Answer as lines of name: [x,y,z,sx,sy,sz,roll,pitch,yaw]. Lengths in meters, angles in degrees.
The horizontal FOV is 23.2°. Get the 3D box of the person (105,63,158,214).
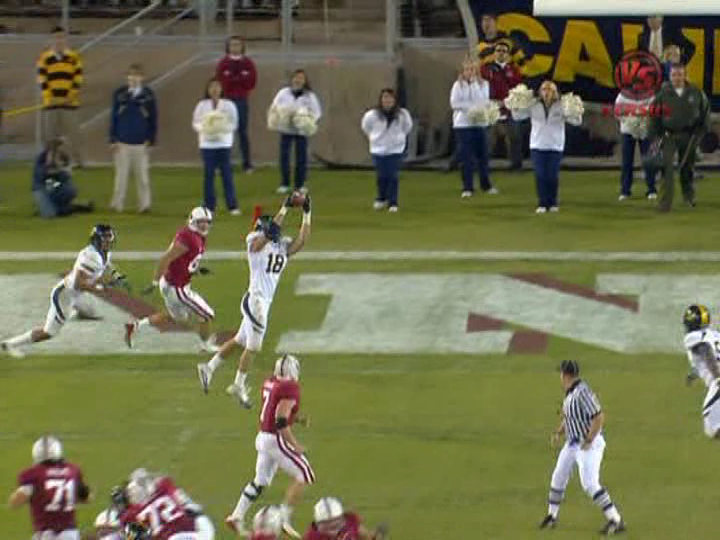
person: [-3.627,-2.069,28.007,0.735,2.475,0.858,-3,9,-8]

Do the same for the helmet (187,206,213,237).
helmet: [-2.230,-0.666,24.389,0.383,0.427,0.330,18,14,33]

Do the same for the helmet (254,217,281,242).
helmet: [-1.241,-0.520,23.486,0.367,0.346,0.284,0,10,12]

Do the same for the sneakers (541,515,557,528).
sneakers: [2.402,3.273,22.320,0.150,0.188,0.169,1,-12,5]

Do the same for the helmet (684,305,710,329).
helmet: [4.489,0.663,23.279,0.327,0.381,0.261,-11,-4,24]

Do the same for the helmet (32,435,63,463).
helmet: [-3.819,2.264,21.400,0.283,0.409,0.403,0,-24,-11]

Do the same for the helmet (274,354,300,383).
helmet: [-0.895,1.285,22.166,0.359,0.403,0.291,4,-5,-25]

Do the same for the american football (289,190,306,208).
american football: [-0.844,-0.927,23.509,0.188,0.232,0.170,-5,8,-9]

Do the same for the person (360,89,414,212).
person: [0.432,-1.865,28.044,0.724,2.046,0.796,-5,10,-22]

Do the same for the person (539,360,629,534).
person: [2.843,2.259,22.355,1.046,2.177,0.957,0,9,8]

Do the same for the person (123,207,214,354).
person: [-2.801,0.286,25.662,1.425,2.111,0.903,2,39,-20]

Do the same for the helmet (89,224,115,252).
helmet: [-3.576,-0.420,24.523,0.303,0.438,0.368,-8,13,-43]

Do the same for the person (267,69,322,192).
person: [-1.064,-2.221,28.612,0.818,2.040,0.972,-2,9,-2]

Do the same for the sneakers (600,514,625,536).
sneakers: [3.192,3.295,22.130,0.305,0.224,0.156,-4,12,-5]
